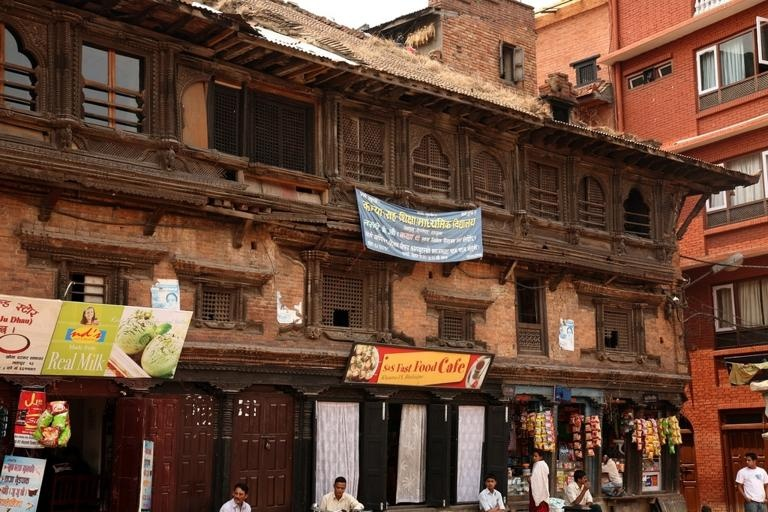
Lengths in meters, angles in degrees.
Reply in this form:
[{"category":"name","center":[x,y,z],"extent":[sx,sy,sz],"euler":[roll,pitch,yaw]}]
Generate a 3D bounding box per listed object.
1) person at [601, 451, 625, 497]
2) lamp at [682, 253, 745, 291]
[{"category":"person","center":[6.929,6.688,32.665],"extent":[0.676,1.213,0.456],"euler":[3,-19,-4]},{"category":"lamp","center":[11.518,0.526,37.226],"extent":[2.251,0.411,0.556],"euler":[-20,-39,6]}]
